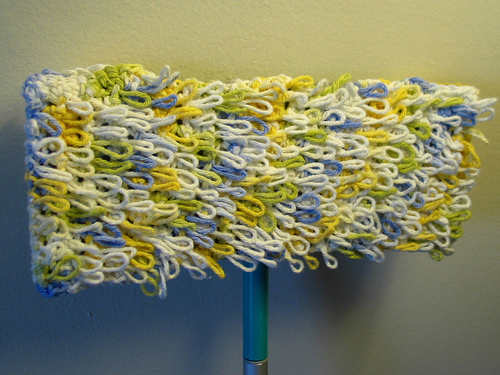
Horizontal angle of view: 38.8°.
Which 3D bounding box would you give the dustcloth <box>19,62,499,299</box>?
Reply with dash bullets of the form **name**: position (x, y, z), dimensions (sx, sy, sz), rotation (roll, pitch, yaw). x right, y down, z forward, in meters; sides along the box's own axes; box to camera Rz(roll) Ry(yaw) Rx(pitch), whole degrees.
- **dustcloth**: position (0.002, -0.013, 2.127), dimensions (1.397, 0.478, 0.658), rotation (5, -65, -1)
